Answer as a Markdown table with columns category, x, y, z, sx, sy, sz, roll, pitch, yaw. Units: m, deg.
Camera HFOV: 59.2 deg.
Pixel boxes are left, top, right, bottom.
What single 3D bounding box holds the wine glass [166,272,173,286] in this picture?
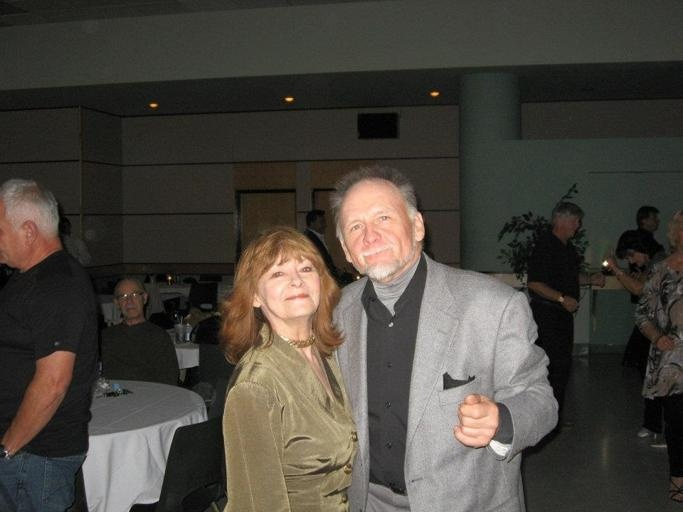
| category | x | y | z | sx | sy | sz | roll | pitch | yaw |
| --- | --- | --- | --- | --- | --- | --- | --- | --- | --- |
| wine glass | -2.679 | 0.366 | 9.426 | 0.130 | 0.209 | 0.128 | 2 | 19 | 3 |

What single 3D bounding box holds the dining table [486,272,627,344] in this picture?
| category | x | y | z | sx | sy | sz | roll | pitch | yaw |
| --- | --- | --- | --- | --- | --- | --- | --- | --- | --- |
| dining table | 1.941 | 0.398 | 5.221 | 0.906 | 0.595 | 0.492 | 1 | 36 | 6 |

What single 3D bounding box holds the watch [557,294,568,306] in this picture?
| category | x | y | z | sx | sy | sz | roll | pitch | yaw |
| --- | --- | --- | --- | --- | --- | --- | --- | --- | --- |
| watch | 1.883 | 0.384 | 5.112 | 0.049 | 0.080 | 0.074 | 1 | 1 | 28 |

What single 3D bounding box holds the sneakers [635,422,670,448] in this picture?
| category | x | y | z | sx | sy | sz | roll | pitch | yaw |
| --- | --- | --- | --- | --- | --- | --- | --- | --- | --- |
| sneakers | 2.893 | 1.688 | 5.581 | 0.250 | 0.267 | 0.163 | -3 | 34 | 27 |
